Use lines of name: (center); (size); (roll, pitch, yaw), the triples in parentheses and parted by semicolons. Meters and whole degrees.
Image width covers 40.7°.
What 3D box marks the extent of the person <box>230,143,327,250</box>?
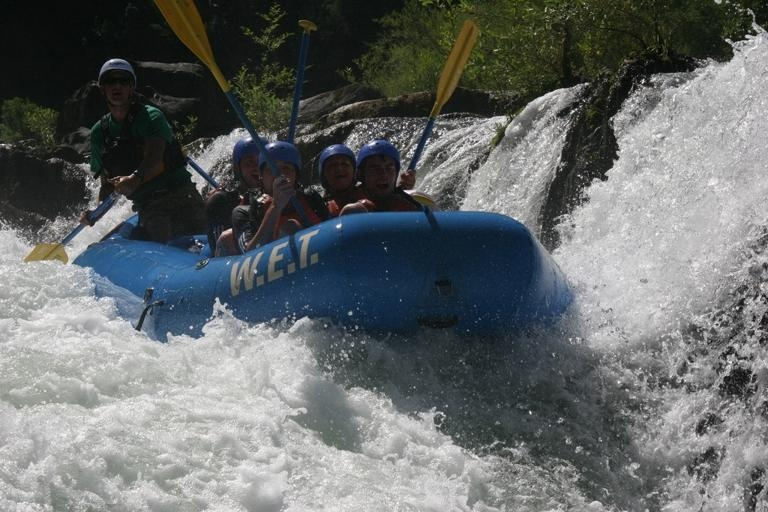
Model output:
person: (-1.001, -0.514, 10.035); (0.795, 1.139, 0.459); (5, 7, 14)

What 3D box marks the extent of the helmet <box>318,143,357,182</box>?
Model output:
helmet: (-0.456, -0.965, 10.336); (0.302, 0.371, 0.407); (1, 22, -8)

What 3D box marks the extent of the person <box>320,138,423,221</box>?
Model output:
person: (-0.100, -0.702, 9.991); (0.648, 0.963, 0.497); (-2, 6, 2)

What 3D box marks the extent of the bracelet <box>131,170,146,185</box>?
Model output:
bracelet: (-2.516, -0.811, 10.684); (0.142, 0.057, 0.190); (-2, 14, -9)

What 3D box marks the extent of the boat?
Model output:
boat: (-0.522, 0.208, 9.558); (3.165, 0.619, 1.867); (-2, 11, 16)

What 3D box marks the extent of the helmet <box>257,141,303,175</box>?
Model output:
helmet: (-1.030, -1.037, 10.211); (0.263, 0.378, 0.291); (3, 44, 7)

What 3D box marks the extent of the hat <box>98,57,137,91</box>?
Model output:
hat: (-2.876, -2.061, 11.209); (0.347, 0.247, 0.685); (-2, 26, -13)
